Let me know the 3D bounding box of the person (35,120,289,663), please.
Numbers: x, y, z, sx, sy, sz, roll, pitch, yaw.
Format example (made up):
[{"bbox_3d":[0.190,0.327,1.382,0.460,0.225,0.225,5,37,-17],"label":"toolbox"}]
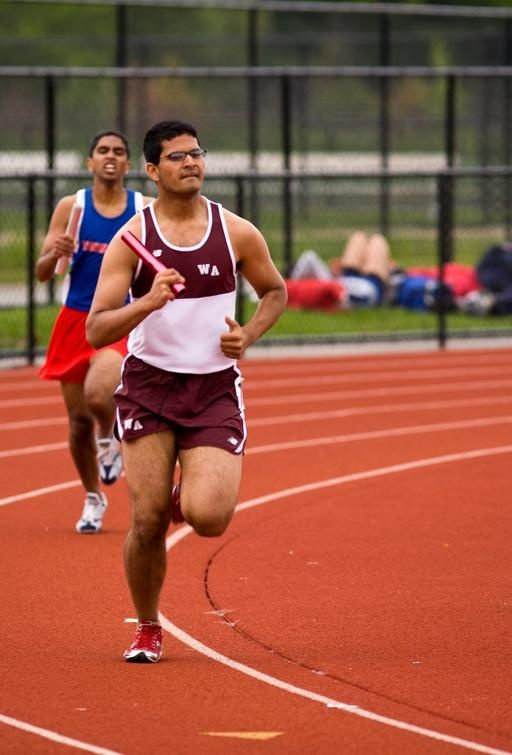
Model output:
[{"bbox_3d":[-0.210,0.074,2.631,0.516,1.753,0.635,6,13,33],"label":"person"}]

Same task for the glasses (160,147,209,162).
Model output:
[{"bbox_3d":[-0.225,-0.680,2.525,0.134,0.044,0.080,-4,10,-17],"label":"glasses"}]

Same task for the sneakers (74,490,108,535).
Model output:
[{"bbox_3d":[-0.948,0.771,4.686,0.114,0.127,0.309,0,12,3],"label":"sneakers"}]

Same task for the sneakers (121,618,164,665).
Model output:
[{"bbox_3d":[-0.369,0.858,2.644,0.077,0.079,0.198,0,-5,2],"label":"sneakers"}]
